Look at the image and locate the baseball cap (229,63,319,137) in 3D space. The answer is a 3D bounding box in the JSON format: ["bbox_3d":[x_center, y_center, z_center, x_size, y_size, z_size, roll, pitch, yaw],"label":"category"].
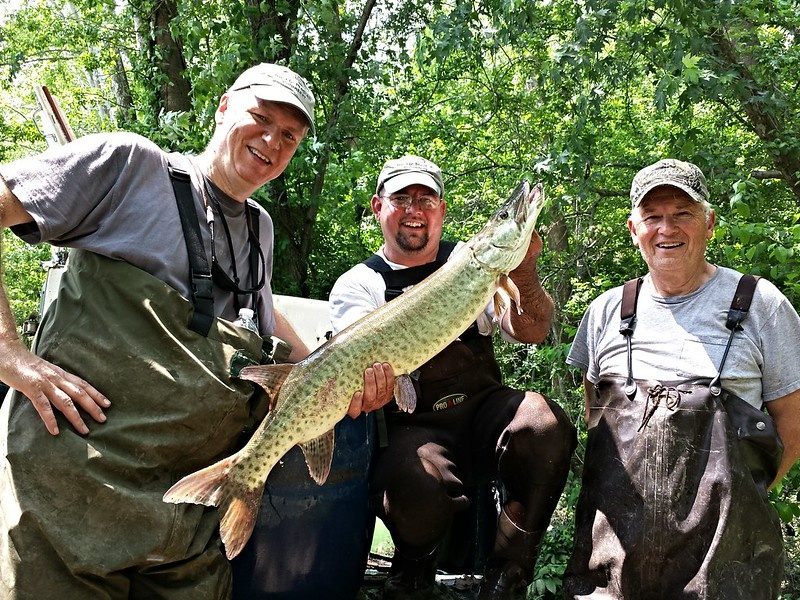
[{"bbox_3d":[-0.787,-1.308,4.151,0.464,0.313,0.604,11,4,-41],"label":"baseball cap"}]

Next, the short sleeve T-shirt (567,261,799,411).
[{"bbox_3d":[1.844,0.401,4.287,1.629,1.165,0.800,-7,-17,32],"label":"short sleeve T-shirt"}]

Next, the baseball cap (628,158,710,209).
[{"bbox_3d":[1.745,-0.736,4.347,0.477,0.335,0.657,-1,-5,16],"label":"baseball cap"}]
